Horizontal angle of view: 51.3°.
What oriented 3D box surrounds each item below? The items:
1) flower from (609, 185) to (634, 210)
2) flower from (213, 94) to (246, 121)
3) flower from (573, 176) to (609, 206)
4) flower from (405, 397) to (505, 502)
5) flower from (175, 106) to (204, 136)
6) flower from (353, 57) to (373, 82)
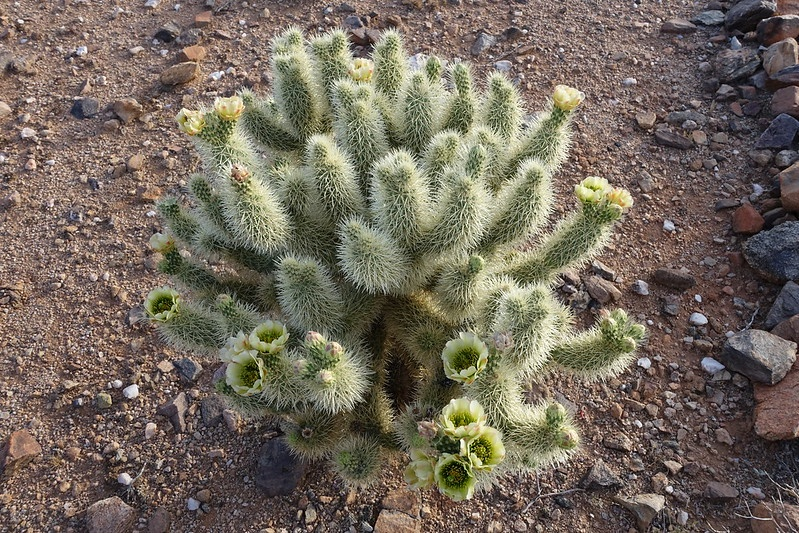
[{"bbox_3d":[2.002,-0.642,7.543,0.244,0.167,0.248,15,92,10],"label":"flower"},{"bbox_3d":[-1.547,-1.428,7.601,0.224,0.167,0.241,39,79,4],"label":"flower"},{"bbox_3d":[1.739,-0.663,7.561,0.261,0.162,0.229,-40,75,0],"label":"flower"},{"bbox_3d":[0.468,1.539,7.143,0.650,0.688,0.679,-28,47,-10],"label":"flower"},{"bbox_3d":[-1.870,-1.314,7.540,0.229,0.163,0.252,5,101,11],"label":"flower"},{"bbox_3d":[-0.359,-1.944,8.289,0.207,0.233,0.217,7,77,2],"label":"flower"}]
